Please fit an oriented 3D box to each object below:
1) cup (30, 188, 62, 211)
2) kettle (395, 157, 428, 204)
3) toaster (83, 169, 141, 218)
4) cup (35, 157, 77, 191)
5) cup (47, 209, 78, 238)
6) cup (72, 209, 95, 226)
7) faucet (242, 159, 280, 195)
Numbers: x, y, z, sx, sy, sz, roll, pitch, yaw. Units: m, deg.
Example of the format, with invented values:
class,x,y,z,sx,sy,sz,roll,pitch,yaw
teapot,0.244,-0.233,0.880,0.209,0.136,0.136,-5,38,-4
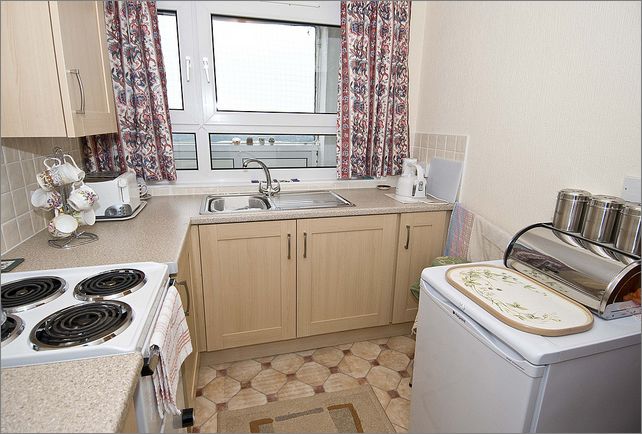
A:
class,x,y,z,sx,sy,sz,roll,pitch,yaw
cup,-1.465,-0.090,2.181,0.135,0.108,0.107,-16,-3,19
kettle,0.661,-0.264,3.075,0.202,0.239,0.224,-6,19,-11
toaster,-1.250,-0.133,2.479,0.299,0.259,0.291,-4,14,-31
cup,-1.439,-0.224,2.215,0.139,0.160,0.100,-21,22,-7
cup,-1.362,0.037,2.184,0.108,0.161,0.104,-22,-11,-5
cup,-1.283,0.005,2.229,0.063,0.082,0.084,-18,15,1
faucet,-0.447,-0.309,3.080,0.254,0.274,0.197,-3,19,-4
